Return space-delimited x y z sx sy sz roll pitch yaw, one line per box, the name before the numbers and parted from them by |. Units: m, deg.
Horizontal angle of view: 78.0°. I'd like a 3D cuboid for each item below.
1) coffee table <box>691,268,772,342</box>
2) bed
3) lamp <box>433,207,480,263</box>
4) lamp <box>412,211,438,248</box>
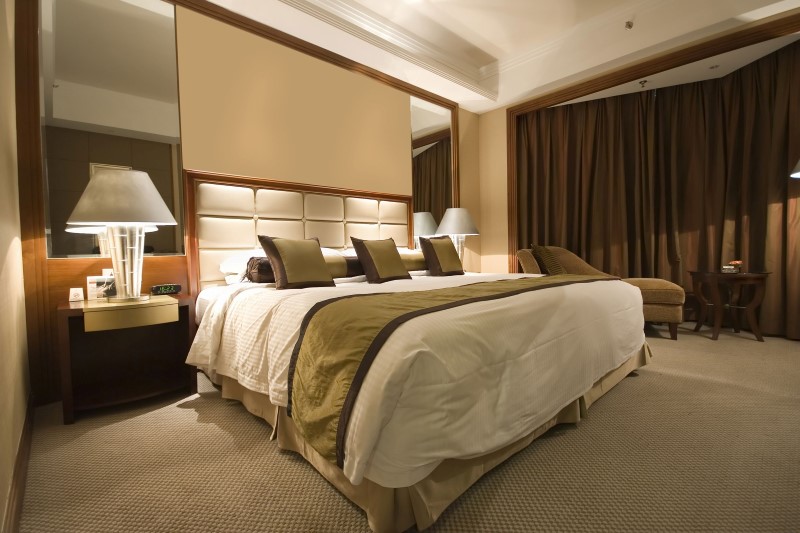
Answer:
coffee table | 3.764 0.352 5.695 0.746 0.848 0.739 1 5 4
bed | -0.052 0.653 3.701 2.024 1.295 2.132 1 2 43
lamp | 0.767 -0.449 6.717 0.582 1.071 0.619 -1 7 12
lamp | 0.314 -0.510 6.467 0.386 0.428 0.369 1 5 45
